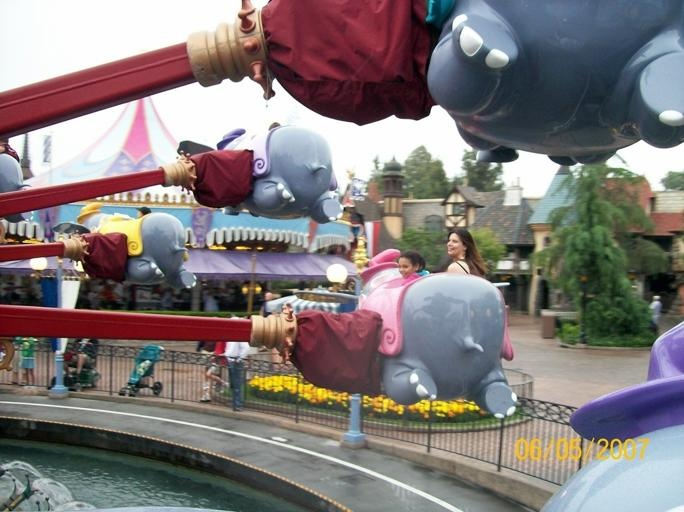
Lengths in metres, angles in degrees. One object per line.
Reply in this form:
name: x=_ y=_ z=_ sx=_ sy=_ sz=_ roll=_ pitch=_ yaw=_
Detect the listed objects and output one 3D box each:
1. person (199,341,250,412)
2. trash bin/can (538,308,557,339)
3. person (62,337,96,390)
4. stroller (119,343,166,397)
person: x=-1.773 y=1.784 z=12.383 sx=0.773 sy=0.740 sz=1.369 roll=-4 pitch=8 yaw=-8
trash bin/can: x=6.701 y=2.256 z=26.407 sx=0.435 sy=0.709 sz=0.850 roll=-1 pitch=9 yaw=16
person: x=-4.289 y=1.809 z=13.445 sx=0.415 sy=0.662 sz=0.513 roll=-4 pitch=-13 yaw=42
stroller: x=-3.117 y=1.781 z=12.926 sx=0.712 sy=0.761 sz=0.767 roll=-1 pitch=9 yaw=14
